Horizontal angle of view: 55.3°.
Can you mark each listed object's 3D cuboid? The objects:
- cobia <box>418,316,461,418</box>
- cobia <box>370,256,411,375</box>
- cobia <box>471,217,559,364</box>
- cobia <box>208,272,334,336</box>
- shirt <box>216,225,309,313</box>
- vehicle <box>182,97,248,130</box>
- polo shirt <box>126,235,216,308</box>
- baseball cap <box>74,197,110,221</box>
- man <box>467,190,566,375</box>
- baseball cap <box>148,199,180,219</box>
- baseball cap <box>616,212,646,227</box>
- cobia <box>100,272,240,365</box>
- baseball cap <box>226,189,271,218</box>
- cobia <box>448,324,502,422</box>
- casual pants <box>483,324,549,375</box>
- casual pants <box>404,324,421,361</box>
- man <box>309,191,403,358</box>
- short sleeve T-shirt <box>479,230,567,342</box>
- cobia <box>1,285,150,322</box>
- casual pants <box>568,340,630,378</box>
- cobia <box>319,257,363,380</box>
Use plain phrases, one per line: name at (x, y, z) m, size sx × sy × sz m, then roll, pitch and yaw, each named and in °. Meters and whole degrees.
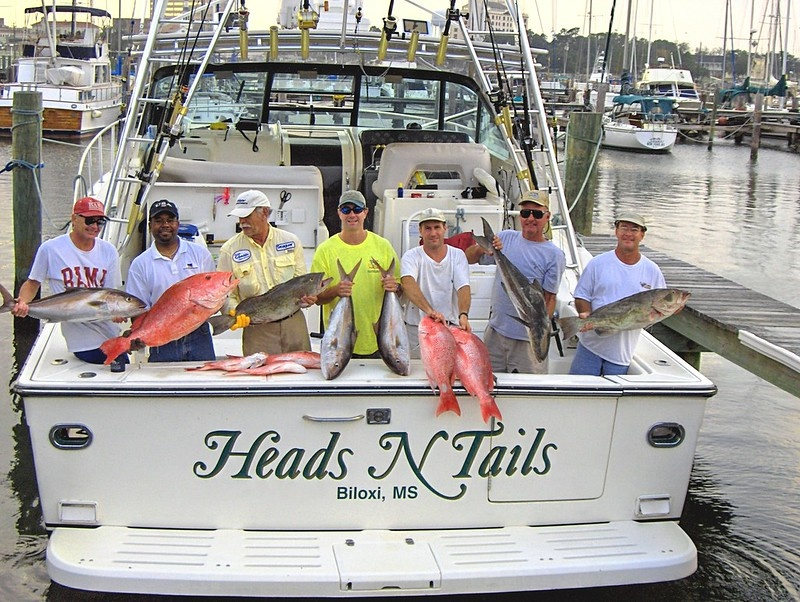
cobia at (0.212, 0.314, 4.046) m, size 0.215 × 0.147 × 0.602 m, roll -7°, pitch 53°, yaw 2°
cobia at (-0.070, 0.128, 4.284) m, size 0.207 × 0.566 × 0.132 m, roll -30°, pitch -39°, yaw 21°
cobia at (0.701, -0.090, 4.474) m, size 0.197 × 0.859 × 0.315 m, roll -22°, pitch -11°, yaw -33°
cobia at (-0.766, 0.006, 4.467) m, size 0.644 × 0.215 × 0.148 m, roll -21°, pitch 8°, yaw 1°
shirt at (-0.850, -0.201, 4.808) m, size 0.561 × 0.533 × 0.310 m, roll -10°, pitch 17°, yaw -19°
vehicle at (-1.981, -2.032, 8.163) m, size 0.479 × 0.288 × 0.667 m, roll 9°, pitch 26°, yaw 11°
polo shirt at (-1.323, -0.163, 4.449) m, size 0.490 × 0.405 × 0.208 m, roll -4°, pitch 7°, yaw -13°
baseball cap at (-1.752, -0.520, 4.314) m, size 0.157 × 0.088 × 0.117 m, roll 9°, pitch 7°, yaw 38°
man at (0.743, 0.075, 5.100) m, size 0.663 × 1.561 × 0.435 m, roll 8°, pitch 18°, yaw 17°
baseball cap at (-1.391, -0.558, 4.522) m, size 0.132 × 0.102 × 0.189 m, roll 1°, pitch -11°, yaw -15°
baseball cap at (1.407, -0.496, 4.612) m, size 0.114 × 0.033 × 0.117 m, roll 10°, pitch 14°, yaw 0°
cobia at (-1.236, 0.080, 4.111) m, size 0.807 × 0.306 × 0.236 m, roll -35°, pitch 28°, yaw -30°
baseball cap at (-0.903, -0.597, 4.632) m, size 0.158 × 0.140 × 0.240 m, roll 9°, pitch 18°, yaw 36°
cobia at (0.396, 0.337, 4.202) m, size 0.279 × 0.149 × 0.729 m, roll -12°, pitch 45°, yaw -2°
casual pants at (0.766, 0.331, 5.041) m, size 0.259 × 0.414 × 0.431 m, roll -20°, pitch 24°, yaw -39°
casual pants at (0.075, 0.258, 4.918) m, size 0.107 × 0.266 × 0.059 m, roll -1°, pitch 8°, yaw 11°
man at (-0.260, 0.008, 4.830) m, size 0.556 × 1.370 × 0.455 m, roll -4°, pitch 25°, yaw -12°
short sleeve T-shirt at (0.789, -0.089, 4.874) m, size 0.573 × 0.738 × 0.361 m, roll 20°, pitch 3°, yaw 29°
cobia at (-1.669, 0.025, 4.048) m, size 0.656 × 0.181 × 0.198 m, roll -4°, pitch 46°, yaw 0°
casual pants at (1.228, 0.353, 4.653) m, size 0.177 × 0.260 × 0.098 m, roll 10°, pitch 11°, yaw 27°
cobia at (-0.320, 0.130, 4.320) m, size 0.263 × 0.696 × 0.165 m, roll -4°, pitch -28°, yaw 19°
